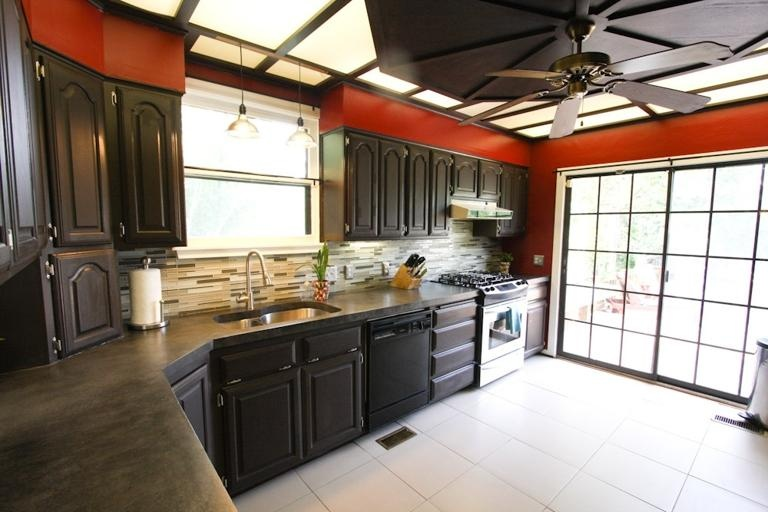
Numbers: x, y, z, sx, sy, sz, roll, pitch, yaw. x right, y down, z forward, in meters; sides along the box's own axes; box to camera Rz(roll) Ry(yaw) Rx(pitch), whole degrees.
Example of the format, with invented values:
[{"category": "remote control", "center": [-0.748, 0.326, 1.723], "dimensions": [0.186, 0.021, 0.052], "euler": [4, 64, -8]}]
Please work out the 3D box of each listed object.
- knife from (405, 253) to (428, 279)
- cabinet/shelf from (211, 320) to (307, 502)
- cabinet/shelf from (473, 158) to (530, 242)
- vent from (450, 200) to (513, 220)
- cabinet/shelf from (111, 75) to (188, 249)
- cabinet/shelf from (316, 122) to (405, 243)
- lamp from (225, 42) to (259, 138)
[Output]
[{"category": "knife", "center": [0.353, 0.113, 4.801], "dimensions": [0.082, 0.254, 0.189], "euler": [-1, 48, -24]}, {"category": "cabinet/shelf", "center": [-0.768, 1.308, 3.782], "dimensions": [0.853, 0.771, 1.153], "euler": [-6, 48, -12]}, {"category": "cabinet/shelf", "center": [1.326, -0.665, 5.576], "dimensions": [1.067, 0.897, 0.365], "euler": [-3, 4, -43]}, {"category": "vent", "center": [1.025, -0.487, 5.160], "dimensions": [0.728, 0.205, 0.301], "euler": [-6, 8, -44]}, {"category": "cabinet/shelf", "center": [-1.690, -0.640, 3.475], "dimensions": [0.132, 1.186, 0.490], "euler": [8, 12, 29]}, {"category": "cabinet/shelf", "center": [-0.192, -0.626, 4.411], "dimensions": [0.782, 0.968, 0.455], "euler": [-1, 7, 1]}, {"category": "lamp", "center": [-1.094, -1.233, 3.766], "dimensions": [0.228, 0.705, 0.639], "euler": [-3, 7, -14]}]
